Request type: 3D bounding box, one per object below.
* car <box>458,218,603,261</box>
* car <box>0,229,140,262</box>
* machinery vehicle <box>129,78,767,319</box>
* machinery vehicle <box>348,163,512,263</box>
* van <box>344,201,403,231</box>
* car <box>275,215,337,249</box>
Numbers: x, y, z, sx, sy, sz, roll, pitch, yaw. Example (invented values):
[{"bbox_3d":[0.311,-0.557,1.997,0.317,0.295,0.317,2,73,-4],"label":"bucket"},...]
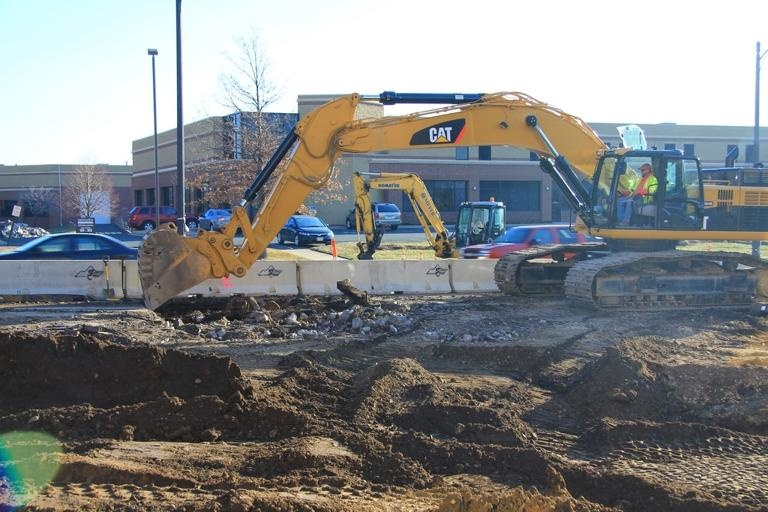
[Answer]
[{"bbox_3d":[3.806,-0.360,26.143,2.835,1.038,1.365,2,0,-4],"label":"car"},{"bbox_3d":[-7.784,-0.145,24.388,3.106,1.014,1.330,3,-6,-8],"label":"car"},{"bbox_3d":[1.976,-1.366,20.851,13.272,4.150,1.334,-1,10,-15],"label":"machinery vehicle"},{"bbox_3d":[1.458,-1.039,29.161,5.140,2.573,1.432,1,3,-25],"label":"machinery vehicle"},{"bbox_3d":[-0.117,-1.971,49.712,1.634,1.313,3.189,-4,12,-29],"label":"van"},{"bbox_3d":[-3.142,-0.907,39.180,1.322,0.941,2.573,0,-2,-25],"label":"car"}]
